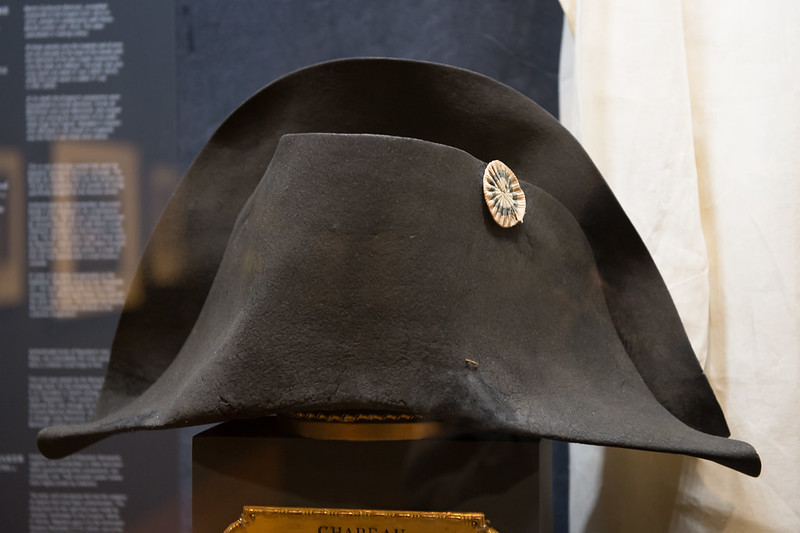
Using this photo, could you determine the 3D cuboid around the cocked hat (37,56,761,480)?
[{"bbox_3d":[-0.057,0.058,3.576,1.251,0.892,0.963,1,5,-11],"label":"cocked hat"}]
